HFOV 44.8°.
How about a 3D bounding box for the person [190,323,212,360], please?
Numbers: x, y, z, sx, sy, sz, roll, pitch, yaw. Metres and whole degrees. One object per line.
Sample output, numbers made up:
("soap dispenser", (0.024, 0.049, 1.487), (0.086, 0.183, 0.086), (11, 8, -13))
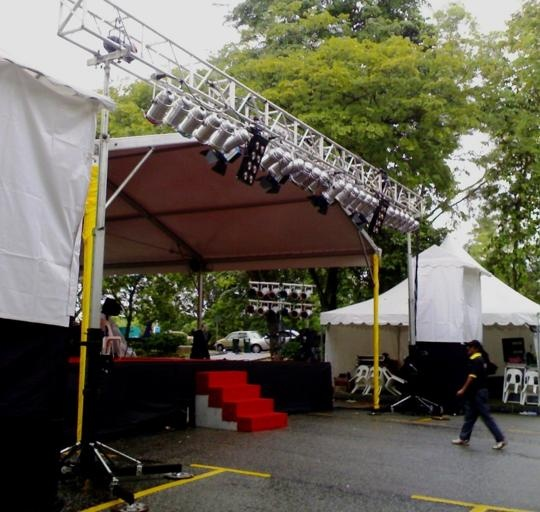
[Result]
("person", (-1.618, 1.977, 15.177), (0.441, 0.788, 1.453), (3, -4, -6))

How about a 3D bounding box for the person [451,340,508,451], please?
("person", (2.996, 1.977, 9.369), (0.691, 1.490, 0.878), (2, -3, 14))

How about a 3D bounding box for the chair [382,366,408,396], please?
("chair", (2.856, 2.991, 15.392), (0.484, 0.715, 1.460), (2, -4, 9))

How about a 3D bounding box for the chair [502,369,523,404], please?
("chair", (5.598, 2.997, 15.010), (0.386, 0.806, 0.699), (2, -5, 22))

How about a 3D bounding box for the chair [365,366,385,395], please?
("chair", (2.484, 2.987, 15.604), (0.485, 0.720, 0.797), (2, -4, 9))
